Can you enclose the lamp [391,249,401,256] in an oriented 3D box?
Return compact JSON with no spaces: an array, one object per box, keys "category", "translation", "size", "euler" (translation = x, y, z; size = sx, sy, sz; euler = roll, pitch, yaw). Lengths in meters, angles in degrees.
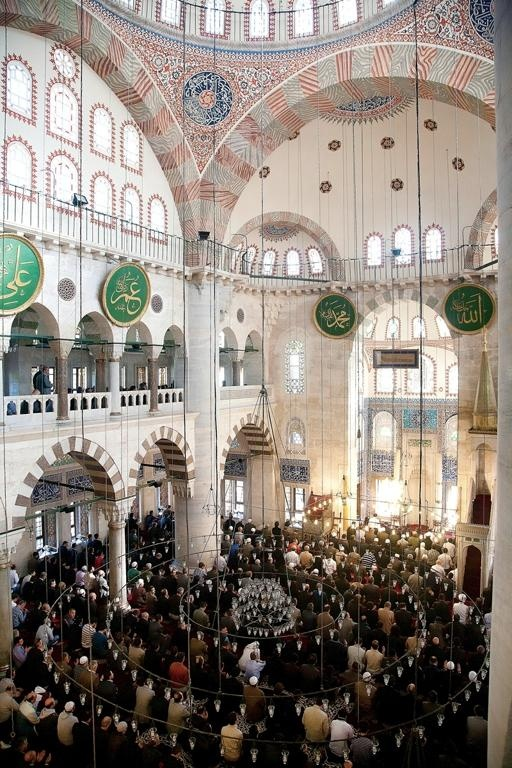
[{"category":"lamp","translation":[2.877,-2.692,14.997],"size":[0.107,0.214,0.199],"euler":[-5,9,-39]}]
